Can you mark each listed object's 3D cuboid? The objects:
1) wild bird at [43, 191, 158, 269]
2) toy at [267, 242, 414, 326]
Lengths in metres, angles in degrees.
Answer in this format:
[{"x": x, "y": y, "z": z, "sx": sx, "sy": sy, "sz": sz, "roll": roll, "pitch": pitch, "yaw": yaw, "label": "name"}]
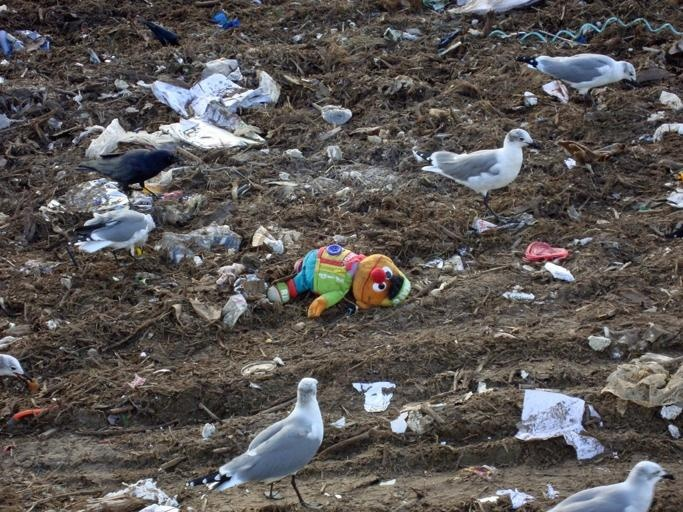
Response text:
[{"x": -2.889, "y": -0.289, "z": 12.826, "sx": 1.608, "sy": 0.654, "sz": 0.466, "roll": -2, "pitch": 16, "yaw": -22, "label": "wild bird"}, {"x": 0.022, "y": 0.241, "z": 12.762, "sx": 1.664, "sy": 0.522, "sz": 1.122, "roll": 11, "pitch": 36, "yaw": 32, "label": "toy"}]
